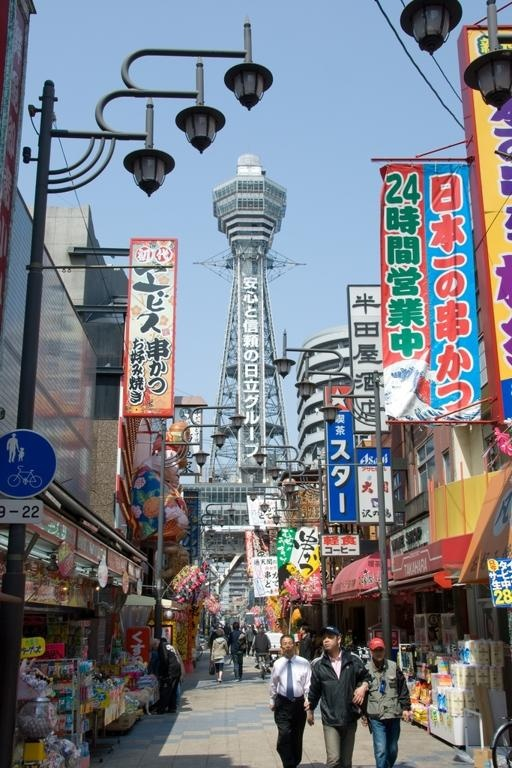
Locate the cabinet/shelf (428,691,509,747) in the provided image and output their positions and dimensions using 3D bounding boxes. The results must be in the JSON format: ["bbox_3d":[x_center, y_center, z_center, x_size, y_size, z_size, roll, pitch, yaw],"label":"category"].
[{"bbox_3d":[3.198,5.021,10.177,0.558,0.894,2.535,0,-19,-1],"label":"cabinet/shelf"}]
